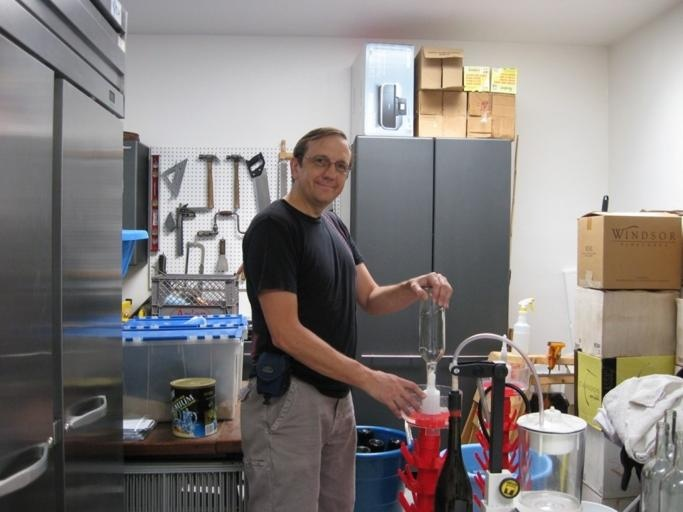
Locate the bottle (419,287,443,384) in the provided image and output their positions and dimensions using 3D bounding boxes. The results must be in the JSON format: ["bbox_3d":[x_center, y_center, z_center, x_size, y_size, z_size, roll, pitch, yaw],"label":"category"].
[{"bbox_3d":[0.303,0.282,2.010,0.080,0.273,0.397,0,2,9],"label":"bottle"}]

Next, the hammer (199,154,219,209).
[{"bbox_3d":[-0.991,-0.555,4.525,0.143,0.429,0.075,-1,2,-16],"label":"hammer"}]

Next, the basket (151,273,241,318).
[{"bbox_3d":[-1.061,0.295,4.339,0.482,0.372,0.323,1,-3,-9],"label":"basket"}]

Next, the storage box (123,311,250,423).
[{"bbox_3d":[-0.679,0.460,2.553,0.349,0.270,0.503,0,-4,-7],"label":"storage box"}]

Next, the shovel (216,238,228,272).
[{"bbox_3d":[-0.892,-0.002,4.468,0.088,0.247,0.144,-1,2,-12],"label":"shovel"}]

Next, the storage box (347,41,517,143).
[{"bbox_3d":[0.656,-1.127,4.188,1.141,0.663,0.352,0,2,3],"label":"storage box"}]
